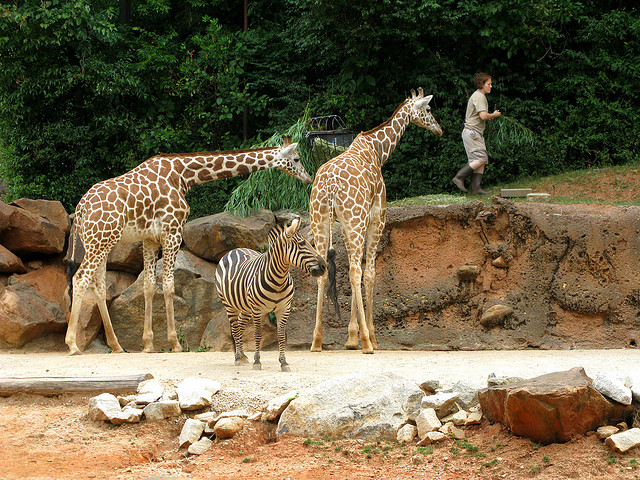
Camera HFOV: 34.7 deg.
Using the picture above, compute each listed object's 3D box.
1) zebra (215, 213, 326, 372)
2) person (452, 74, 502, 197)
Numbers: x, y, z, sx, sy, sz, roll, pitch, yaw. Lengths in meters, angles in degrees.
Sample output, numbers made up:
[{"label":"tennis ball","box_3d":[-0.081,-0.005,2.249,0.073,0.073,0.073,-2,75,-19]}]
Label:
[{"label":"zebra","box_3d":[-0.821,0.893,15.209,0.848,2.158,2.589,-2,-2,-37]},{"label":"person","box_3d":[3.019,-2.005,19.480,0.682,2.351,0.783,3,4,35]}]
